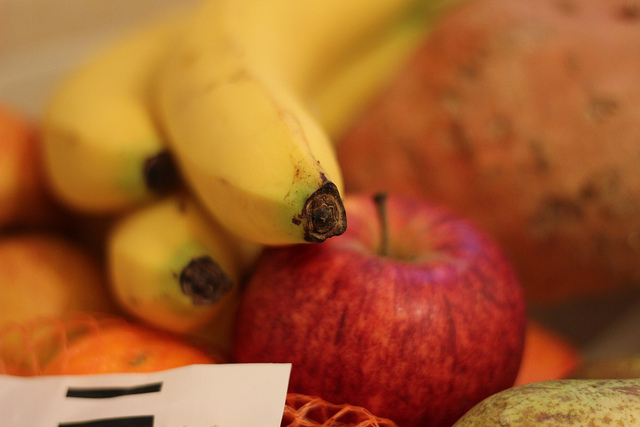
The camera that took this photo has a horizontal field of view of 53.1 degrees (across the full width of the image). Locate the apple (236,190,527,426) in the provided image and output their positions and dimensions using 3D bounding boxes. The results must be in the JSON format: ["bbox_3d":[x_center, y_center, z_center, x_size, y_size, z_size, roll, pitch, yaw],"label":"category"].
[{"bbox_3d":[0.057,0.067,0.617,0.215,0.231,0.246,5,96,10],"label":"apple"}]

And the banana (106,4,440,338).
[{"bbox_3d":[-0.060,-0.041,0.663,0.092,0.121,0.346,41,88,24],"label":"banana"}]
